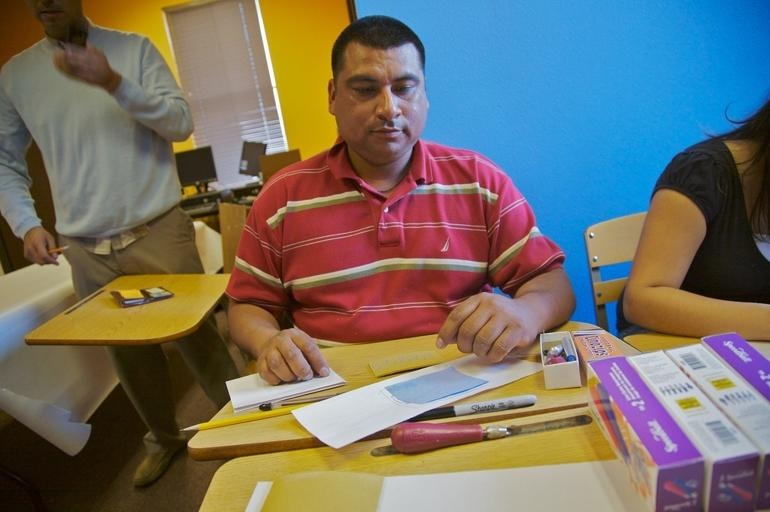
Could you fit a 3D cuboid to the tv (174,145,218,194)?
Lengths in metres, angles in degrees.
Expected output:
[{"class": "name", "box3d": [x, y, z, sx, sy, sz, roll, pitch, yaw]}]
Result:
[{"class": "tv", "box3d": [-1.930, -0.909, 5.613, 0.511, 0.524, 0.124, -12, 20, -16]}]

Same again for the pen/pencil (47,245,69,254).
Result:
[{"class": "pen/pencil", "box3d": [-1.488, -0.027, 2.493, 0.103, 0.029, 0.012, -10, 25, 13]}]

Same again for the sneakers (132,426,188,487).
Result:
[{"class": "sneakers", "box3d": [-1.120, 0.923, 2.610, 0.114, 0.221, 0.325, -9, 24, 24]}]

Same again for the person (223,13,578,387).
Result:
[{"class": "person", "box3d": [0.001, -0.137, 1.914, 0.983, 1.231, 0.745, 2, 22, -5]}]

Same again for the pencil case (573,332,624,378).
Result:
[{"class": "pencil case", "box3d": [0.553, 0.240, 1.449, 0.119, 0.084, 0.140, -15, 14, -7]}]
